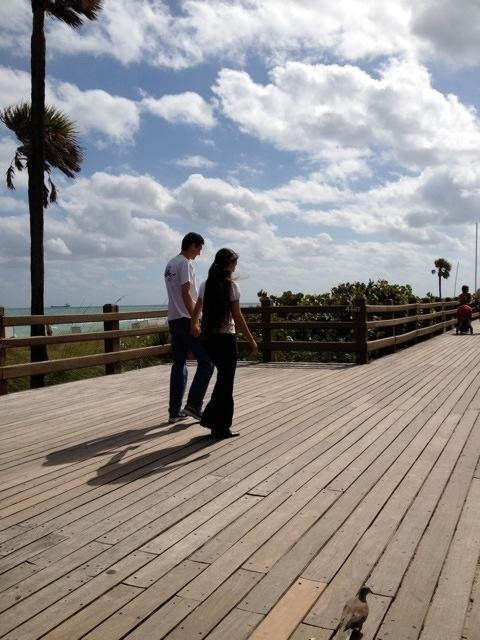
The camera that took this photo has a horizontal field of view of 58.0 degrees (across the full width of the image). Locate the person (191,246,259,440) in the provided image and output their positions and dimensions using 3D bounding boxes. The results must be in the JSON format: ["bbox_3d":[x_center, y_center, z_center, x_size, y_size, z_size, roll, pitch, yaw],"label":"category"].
[{"bbox_3d":[-0.212,0.217,4.022,0.610,1.752,0.503,-2,-3,24],"label":"person"}]

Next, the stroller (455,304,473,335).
[{"bbox_3d":[8.459,-0.030,16.174,0.577,0.847,1.429,2,7,15],"label":"stroller"}]
